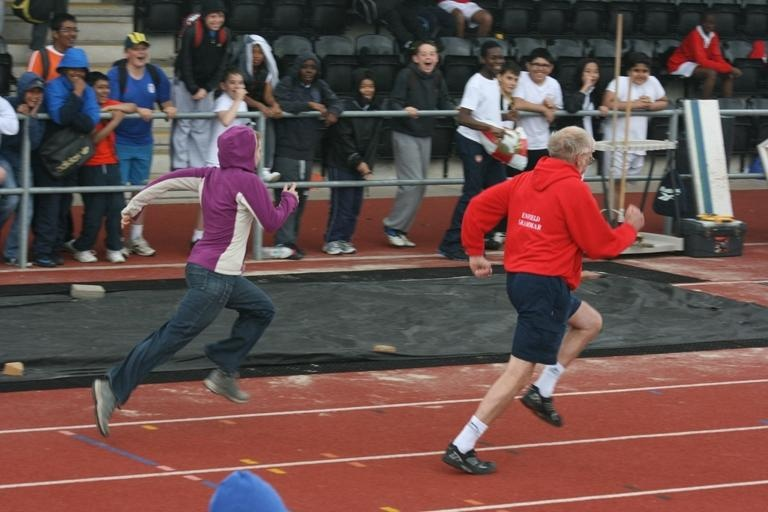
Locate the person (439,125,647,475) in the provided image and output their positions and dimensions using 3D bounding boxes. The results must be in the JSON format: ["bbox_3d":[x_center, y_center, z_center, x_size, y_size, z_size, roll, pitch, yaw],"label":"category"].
[{"bbox_3d":[1.318,0.323,8.767,1.439,2.714,0.898,5,3,-1],"label":"person"}]

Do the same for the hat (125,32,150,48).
[{"bbox_3d":[-2.969,-2.552,13.079,0.232,0.195,0.297,3,3,-3],"label":"hat"}]

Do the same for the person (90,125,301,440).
[{"bbox_3d":[-1.515,0.177,9.035,1.545,2.508,0.674,4,4,-16],"label":"person"}]

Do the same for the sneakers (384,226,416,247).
[{"bbox_3d":[0.129,-0.220,14.460,0.503,0.180,0.157,16,-28,-15],"label":"sneakers"}]
